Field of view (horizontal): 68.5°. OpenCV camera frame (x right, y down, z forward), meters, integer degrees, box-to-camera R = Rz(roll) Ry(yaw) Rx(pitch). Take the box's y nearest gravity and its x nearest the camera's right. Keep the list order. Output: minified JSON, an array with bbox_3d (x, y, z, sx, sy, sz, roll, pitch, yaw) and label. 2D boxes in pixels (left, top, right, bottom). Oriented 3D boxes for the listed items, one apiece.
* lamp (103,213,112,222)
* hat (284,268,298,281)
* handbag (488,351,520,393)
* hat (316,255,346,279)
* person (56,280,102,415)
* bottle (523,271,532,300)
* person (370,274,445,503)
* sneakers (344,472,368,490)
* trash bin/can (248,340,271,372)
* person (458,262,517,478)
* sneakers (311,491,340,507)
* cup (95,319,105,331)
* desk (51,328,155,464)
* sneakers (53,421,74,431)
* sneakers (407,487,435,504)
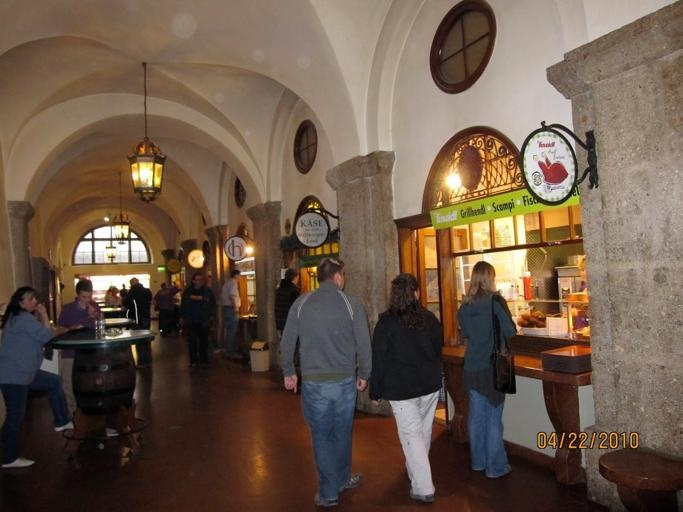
[{"bbox_3d":[-13.291,-2.210,28.383,0.308,0.279,0.479,-9,31,9],"label":"lamp"},{"bbox_3d":[-1.011,0.359,9.865,0.180,0.253,0.238,9,18,31],"label":"hat"},{"bbox_3d":[1.637,1.191,5.053,0.153,0.385,0.220,-1,-1,-19],"label":"handbag"},{"bbox_3d":[-0.114,0.137,5.096,0.167,0.251,0.242,-1,-12,28],"label":"hat"},{"bbox_3d":[-4.123,1.358,7.910,0.542,1.941,0.579,13,15,28],"label":"person"},{"bbox_3d":[2.954,0.455,7.953,0.156,0.421,0.541,-2,0,20],"label":"bottle"},{"bbox_3d":[0.641,1.272,4.889,0.739,1.731,0.344,-2,-1,-3],"label":"person"},{"bbox_3d":[0.122,2.328,5.212,0.075,0.110,0.227,4,8,33],"label":"sneakers"},{"bbox_3d":[-1.780,2.177,10.890,0.390,0.624,0.406,-1,2,-5],"label":"trash bin/can"},{"bbox_3d":[1.532,1.179,5.246,0.608,1.986,0.291,-2,-1,32],"label":"person"},{"bbox_3d":[-0.151,2.346,4.848,0.244,0.083,0.138,-2,0,0],"label":"sneakers"},{"bbox_3d":[-3.231,0.924,6.710,0.143,0.177,0.152,-1,-4,0],"label":"cup"},{"bbox_3d":[-3.095,1.740,6.556,1.133,1.405,1.140,1,-5,-26],"label":"desk"},{"bbox_3d":[-3.882,2.371,7.040,0.179,0.128,0.296,-12,-16,40],"label":"sneakers"},{"bbox_3d":[0.784,2.333,4.894,0.183,0.085,0.107,-5,-5,38],"label":"sneakers"}]
